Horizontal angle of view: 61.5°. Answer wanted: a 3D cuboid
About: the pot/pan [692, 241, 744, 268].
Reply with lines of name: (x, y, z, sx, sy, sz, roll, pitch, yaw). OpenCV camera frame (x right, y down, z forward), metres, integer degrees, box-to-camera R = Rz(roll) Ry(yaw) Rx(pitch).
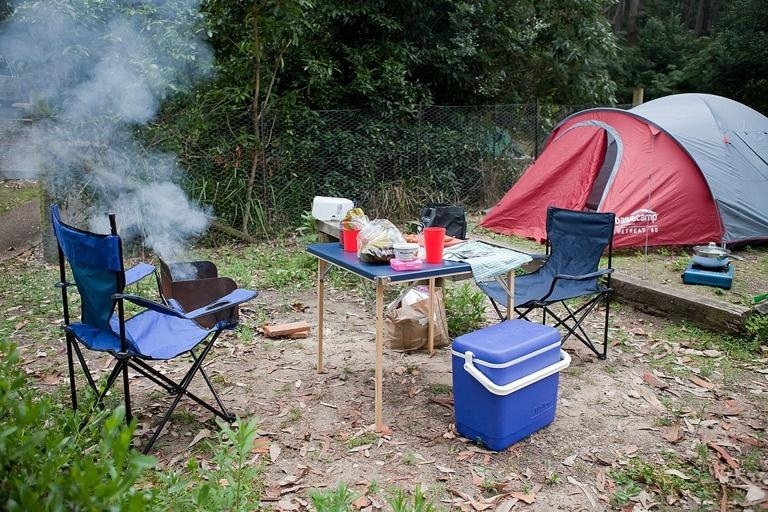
pot/pan: (3.789, -0.010, 7.463, 0.298, 0.174, 0.446, -3, 9, -11)

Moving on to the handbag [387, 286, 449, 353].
handbag: (0.337, 0.623, 6.552, 0.637, 0.615, 0.462, -9, 15, -18)

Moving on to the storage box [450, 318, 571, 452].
storage box: (1.084, 1.052, 5.472, 1.009, 0.831, 0.691, -10, 14, -34)

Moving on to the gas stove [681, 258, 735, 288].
gas stove: (3.897, 0.187, 7.640, 0.537, 0.202, 0.723, 11, 19, 40)

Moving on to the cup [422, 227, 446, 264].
cup: (0.419, -0.098, 5.465, 0.159, 0.293, 0.156, -1, 19, 0)

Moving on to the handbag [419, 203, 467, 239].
handbag: (0.640, -0.391, 7.413, 0.452, 0.335, 0.529, -8, -3, 18)

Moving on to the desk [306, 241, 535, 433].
desk: (0.210, 0.600, 5.981, 1.716, 1.438, 1.709, -4, 7, -32)
